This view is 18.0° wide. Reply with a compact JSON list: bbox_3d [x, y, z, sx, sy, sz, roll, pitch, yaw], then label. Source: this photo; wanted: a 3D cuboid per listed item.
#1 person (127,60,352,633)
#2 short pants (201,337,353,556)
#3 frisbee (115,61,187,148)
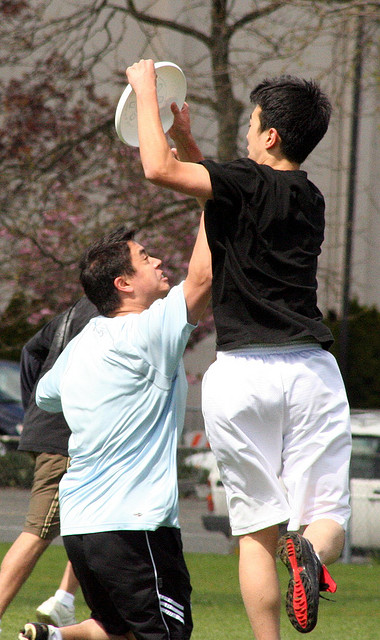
[{"bbox_3d":[0.253,0.126,4.797,0.708,2.053,0.880,-2,15,19],"label":"person"},{"bbox_3d":[0.378,0.457,4.862,0.560,0.931,0.351,-3,18,6],"label":"short pants"},{"bbox_3d":[-0.159,-0.959,5.302,0.064,0.394,0.383,25,-2,34],"label":"frisbee"}]
